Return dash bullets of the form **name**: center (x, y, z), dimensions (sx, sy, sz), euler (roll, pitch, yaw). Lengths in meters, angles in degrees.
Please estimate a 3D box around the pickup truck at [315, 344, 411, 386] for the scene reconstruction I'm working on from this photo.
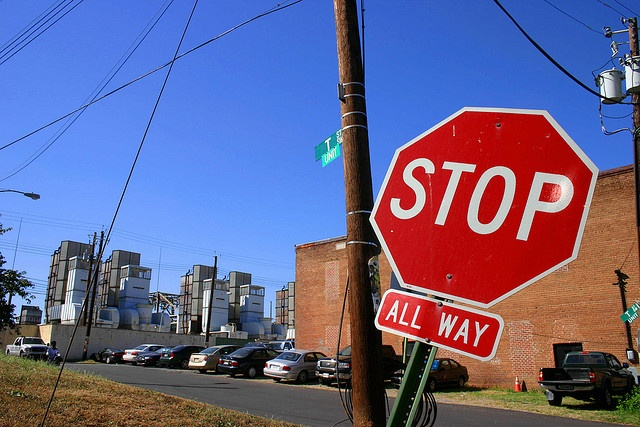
- **pickup truck**: center (1.686, 6.426, 22.674), dimensions (3.684, 2.018, 9.993), euler (3, -16, 0)

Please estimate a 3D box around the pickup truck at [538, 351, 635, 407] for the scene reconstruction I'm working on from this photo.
- **pickup truck**: center (10.769, 6.527, 21.569), dimensions (3.977, 1.481, 2.114), euler (10, -16, -40)

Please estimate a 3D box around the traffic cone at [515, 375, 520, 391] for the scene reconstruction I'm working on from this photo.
- **traffic cone**: center (9.658, 8.366, 26.392), dimensions (0.290, 0.720, 1.137), euler (-2, -16, 20)

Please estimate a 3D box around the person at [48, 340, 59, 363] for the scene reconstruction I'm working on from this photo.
- **person**: center (-15.711, 8.170, 31.688), dimensions (0.573, 1.164, 1.997), euler (11, -17, -23)

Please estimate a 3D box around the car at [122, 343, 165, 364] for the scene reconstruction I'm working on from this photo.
- **car**: center (-12.093, 9.830, 36.912), dimensions (1.373, 1.014, 3.165), euler (-4, -6, 43)

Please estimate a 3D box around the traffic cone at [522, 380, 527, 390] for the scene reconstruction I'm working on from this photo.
- **traffic cone**: center (10.079, 8.508, 26.635), dimensions (0.264, 0.494, 0.455), euler (-2, -16, 19)

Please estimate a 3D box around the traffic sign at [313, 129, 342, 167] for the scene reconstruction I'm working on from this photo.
- **traffic sign**: center (0.198, -1.420, 12.070), dimensions (0.004, 0.654, 0.936), euler (18, -35, -38)
